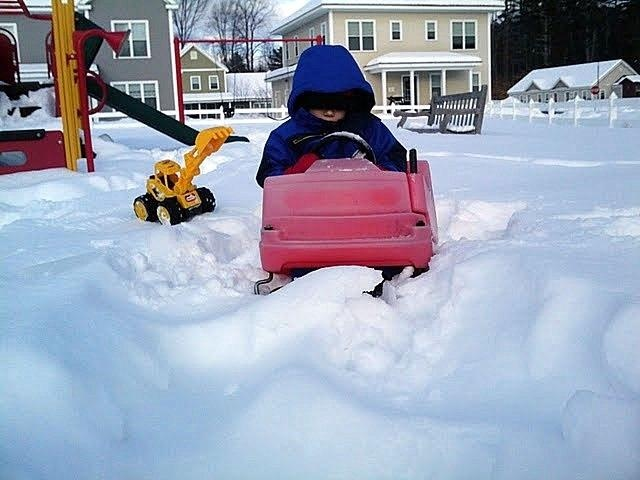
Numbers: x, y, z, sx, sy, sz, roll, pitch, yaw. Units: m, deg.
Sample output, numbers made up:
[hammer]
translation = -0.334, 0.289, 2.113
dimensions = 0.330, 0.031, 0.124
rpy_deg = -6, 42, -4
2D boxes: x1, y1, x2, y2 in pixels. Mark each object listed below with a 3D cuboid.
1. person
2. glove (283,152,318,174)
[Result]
[person]
translation = 0.073, -0.821, 3.473
dimensions = 1.004, 0.853, 0.500
rpy_deg = -3, 14, -9
[glove]
translation = -0.101, -0.418, 2.948
dimensions = 0.178, 0.108, 0.231
rpy_deg = -5, 15, -13
